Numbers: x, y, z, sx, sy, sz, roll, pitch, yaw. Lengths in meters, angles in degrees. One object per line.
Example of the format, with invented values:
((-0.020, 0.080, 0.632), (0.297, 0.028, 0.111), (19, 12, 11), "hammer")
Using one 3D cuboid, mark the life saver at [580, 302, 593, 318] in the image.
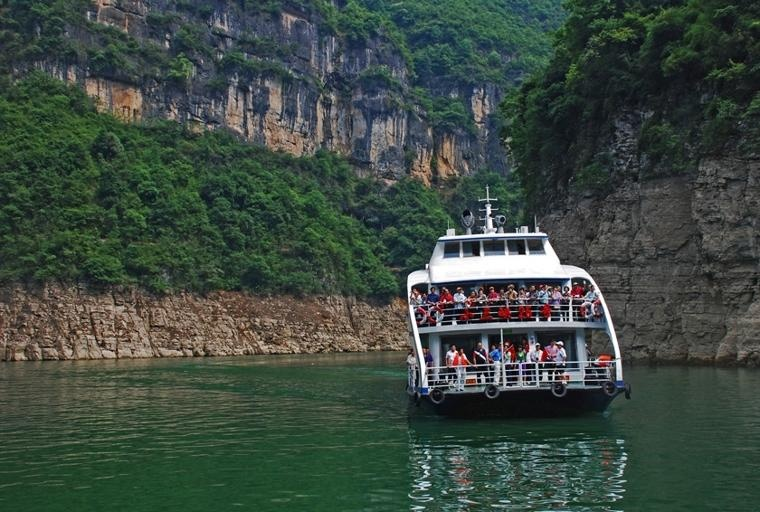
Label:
((14.075, 3.701, 75.701), (0.896, 0.984, 0.414), (1, -8, 5), "life saver")
